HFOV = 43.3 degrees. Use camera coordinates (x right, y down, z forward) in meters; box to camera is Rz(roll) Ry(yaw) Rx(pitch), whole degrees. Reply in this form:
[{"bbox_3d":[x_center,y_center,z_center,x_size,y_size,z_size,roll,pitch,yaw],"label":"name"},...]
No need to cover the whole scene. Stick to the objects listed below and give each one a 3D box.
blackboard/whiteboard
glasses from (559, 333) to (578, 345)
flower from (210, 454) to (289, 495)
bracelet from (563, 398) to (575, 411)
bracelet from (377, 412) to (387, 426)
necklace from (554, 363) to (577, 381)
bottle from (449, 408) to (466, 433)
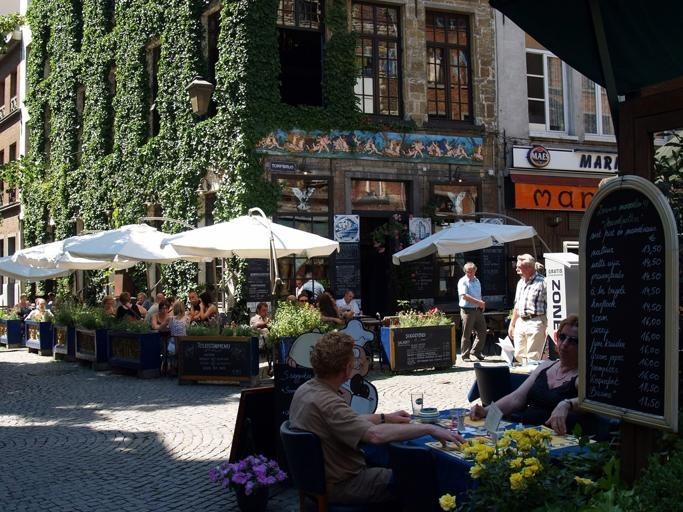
[{"bbox_3d":[2.107,0.327,6.393,0.297,1.826,0.795,-8,4,-40],"label":"blackboard/whiteboard"},{"bbox_3d":[2.145,0.792,8.197,0.053,0.083,0.219,-8,4,-38],"label":"glasses"},{"bbox_3d":[-0.980,2.221,8.621,0.555,0.395,0.647,2,1,28],"label":"flower"},{"bbox_3d":[2.034,1.332,7.686,0.020,0.085,0.079,-6,-8,-26],"label":"bracelet"},{"bbox_3d":[0.360,1.447,7.568,0.051,0.074,0.073,2,29,-11],"label":"bracelet"},{"bbox_3d":[2.139,1.129,8.230,0.128,0.142,0.053,15,23,32],"label":"necklace"},{"bbox_3d":[1.026,1.440,7.548,0.126,0.218,0.126,-4,5,0],"label":"bottle"}]
